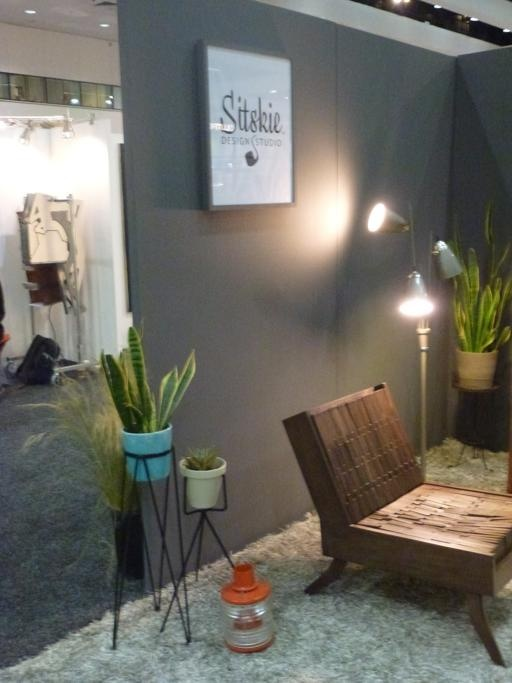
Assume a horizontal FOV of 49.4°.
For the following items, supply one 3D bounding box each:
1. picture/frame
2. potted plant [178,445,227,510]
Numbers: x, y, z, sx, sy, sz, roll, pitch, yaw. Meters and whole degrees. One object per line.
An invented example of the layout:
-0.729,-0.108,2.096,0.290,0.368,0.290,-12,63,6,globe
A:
-0.024,-0.916,2.448,0.032,0.649,0.583,-19,28,-39,picture/frame
-0.212,0.554,2.216,0.173,0.217,0.184,0,-2,-11,potted plant
